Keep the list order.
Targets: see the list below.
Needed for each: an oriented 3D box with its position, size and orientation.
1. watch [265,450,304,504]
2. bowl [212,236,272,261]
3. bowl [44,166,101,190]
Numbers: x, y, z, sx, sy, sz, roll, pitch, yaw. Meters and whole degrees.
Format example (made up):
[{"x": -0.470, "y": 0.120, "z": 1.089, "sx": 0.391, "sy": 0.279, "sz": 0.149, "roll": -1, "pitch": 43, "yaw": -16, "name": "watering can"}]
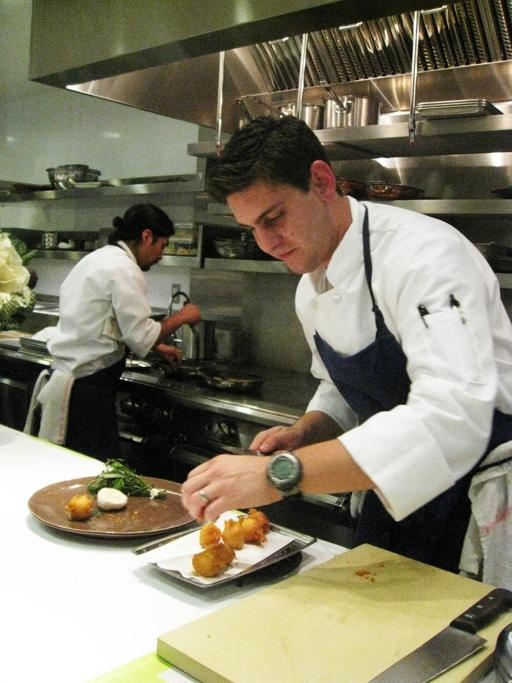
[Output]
[{"x": 0.045, "y": 0.205, "z": 0.861, "sx": 0.069, "sy": 0.062, "sz": 0.065, "roll": -14, "pitch": -19, "yaw": 35, "name": "watch"}, {"x": -0.107, "y": -0.481, "z": 2.921, "sx": 0.188, "sy": 0.070, "sz": 0.244, "roll": 2, "pitch": 1, "yaw": 43, "name": "bowl"}, {"x": -1.487, "y": -1.303, "z": 4.439, "sx": 0.351, "sy": 0.180, "sz": 0.403, "roll": -5, "pitch": 14, "yaw": -15, "name": "bowl"}]
